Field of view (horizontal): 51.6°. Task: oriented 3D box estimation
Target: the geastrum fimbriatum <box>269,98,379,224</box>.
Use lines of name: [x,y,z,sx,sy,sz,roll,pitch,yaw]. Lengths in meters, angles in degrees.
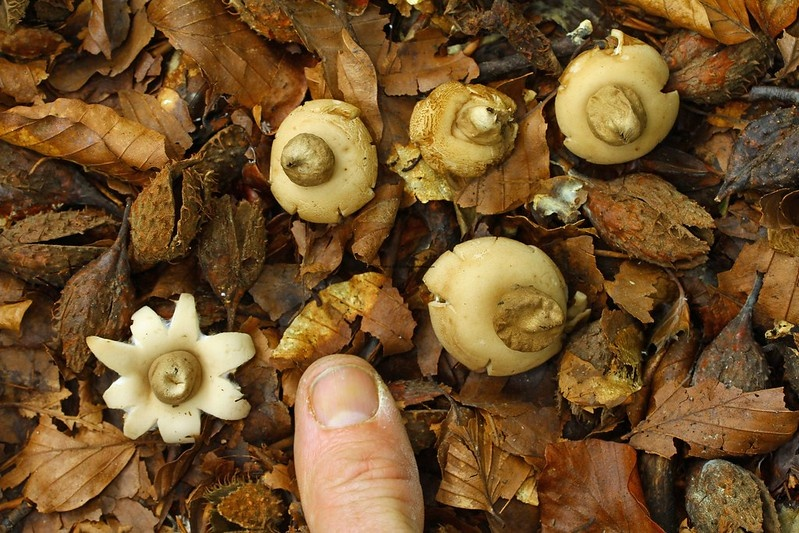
geastrum fimbriatum: [-0.426,-0.570,4.528,0.597,0.474,0.492,-15,52,-8]
